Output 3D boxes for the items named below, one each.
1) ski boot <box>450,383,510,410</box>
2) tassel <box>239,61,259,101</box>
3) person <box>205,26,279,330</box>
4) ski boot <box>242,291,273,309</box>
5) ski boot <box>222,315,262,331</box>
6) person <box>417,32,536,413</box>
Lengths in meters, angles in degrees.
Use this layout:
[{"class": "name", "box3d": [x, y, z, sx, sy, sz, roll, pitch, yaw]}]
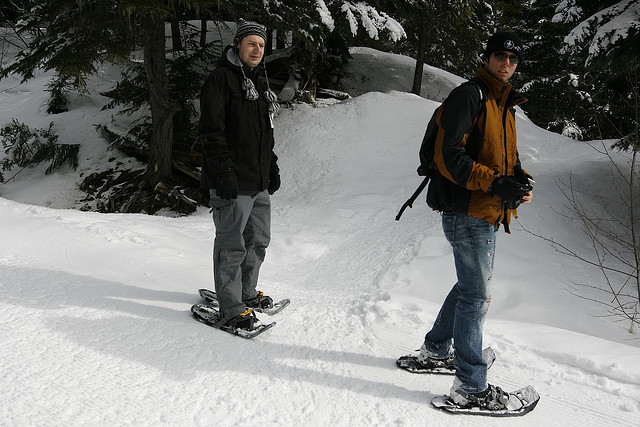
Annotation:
[{"class": "ski boot", "box3d": [1.425, 1.620, 4.122, 0.541, 0.222, 0.209, -3, 20, 0]}, {"class": "tassel", "box3d": [-0.715, -1.263, 4.631, 0.155, 0.221, 0.084, 9, 17, 12]}, {"class": "person", "box3d": [-0.804, -0.347, 4.679, 0.780, 3.021, 1.003, 4, 16, -2]}, {"class": "ski boot", "box3d": [-0.700, 0.979, 5.143, 0.338, 0.159, 0.153, 3, 16, -8]}, {"class": "ski boot", "box3d": [-0.770, 1.123, 4.675, 0.278, 0.082, 0.161, -1, 12, 5]}, {"class": "person", "box3d": [1.374, 0.055, 4.058, 0.855, 3.196, 1.087, 3, 16, -6]}]
